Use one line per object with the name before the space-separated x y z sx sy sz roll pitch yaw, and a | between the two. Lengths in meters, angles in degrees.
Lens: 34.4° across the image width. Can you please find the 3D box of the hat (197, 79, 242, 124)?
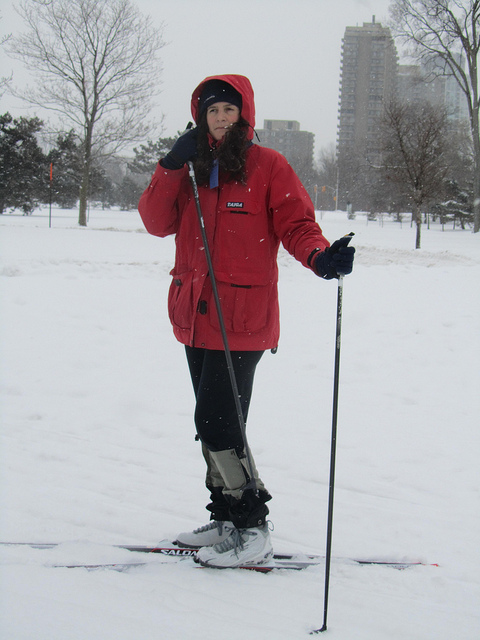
hat | -0.063 -0.912 3.196 0.193 0.165 0.251 1 3 5

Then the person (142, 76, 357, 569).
person | 0.003 0.015 3.120 0.452 1.939 0.885 -8 17 -43

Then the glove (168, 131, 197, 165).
glove | -0.219 -0.681 3.078 0.096 0.133 0.039 31 -13 19

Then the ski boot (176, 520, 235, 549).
ski boot | -0.139 0.896 3.286 0.297 0.133 0.103 2 -3 3

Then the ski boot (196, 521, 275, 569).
ski boot | -0.005 0.932 3.205 0.347 0.230 0.130 3 -6 -1
